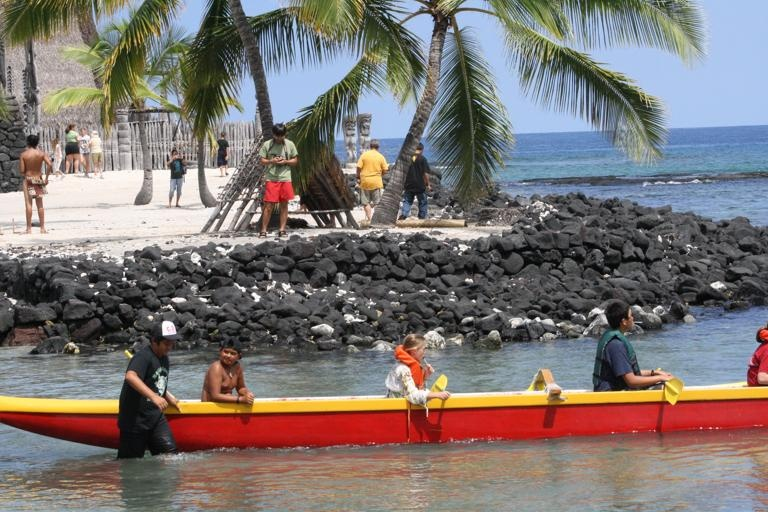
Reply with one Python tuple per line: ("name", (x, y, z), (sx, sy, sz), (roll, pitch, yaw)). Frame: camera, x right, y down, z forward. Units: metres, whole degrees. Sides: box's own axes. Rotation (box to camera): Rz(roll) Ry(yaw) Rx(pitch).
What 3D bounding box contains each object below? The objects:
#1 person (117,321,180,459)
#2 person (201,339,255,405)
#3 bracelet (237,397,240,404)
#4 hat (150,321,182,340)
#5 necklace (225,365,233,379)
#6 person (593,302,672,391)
("person", (-3.286, 1.844, 16.696), (0.888, 1.914, 0.535), (-3, 1, -14))
("person", (-2.212, 1.695, 17.099), (0.693, 1.088, 0.771), (6, 7, -26))
("bracelet", (-2.064, 2.005, 16.919), (0.067, 0.095, 0.022), (1, 3, 2))
("hat", (-3.036, 1.011, 16.606), (0.340, 0.186, 0.244), (10, 7, 8))
("necklace", (-2.201, 1.614, 17.017), (0.104, 0.146, 0.039), (3, 4, -1))
("person", (3.451, 1.269, 17.241), (0.967, 1.182, 0.475), (-3, 1, 10))
